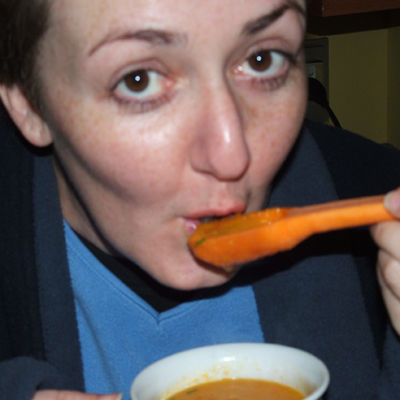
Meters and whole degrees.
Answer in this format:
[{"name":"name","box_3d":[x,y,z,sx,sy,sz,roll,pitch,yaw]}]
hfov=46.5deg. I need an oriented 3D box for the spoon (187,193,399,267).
[{"name":"spoon","box_3d":[0.185,0.065,0.958,0.378,0.102,0.092,-12,22,8]}]
